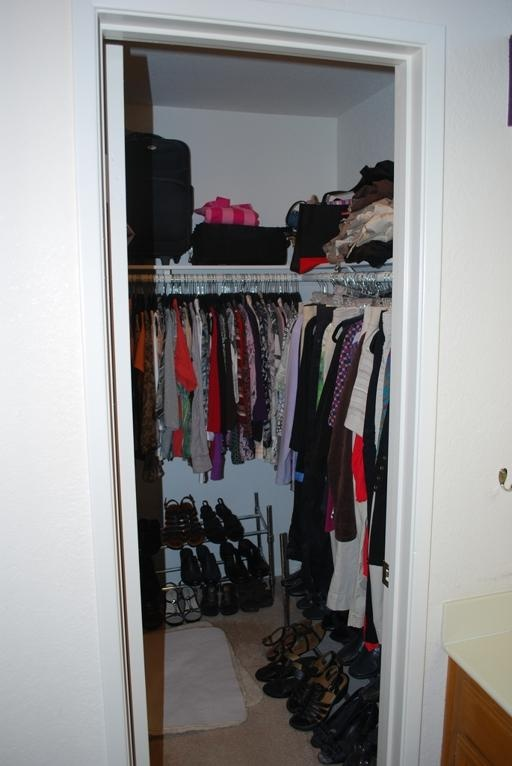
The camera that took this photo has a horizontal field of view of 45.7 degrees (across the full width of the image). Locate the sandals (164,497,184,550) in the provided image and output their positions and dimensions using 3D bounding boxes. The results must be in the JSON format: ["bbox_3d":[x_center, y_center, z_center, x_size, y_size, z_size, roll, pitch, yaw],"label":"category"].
[{"bbox_3d":[-0.397,0.672,2.925,0.072,0.076,0.247,-2,31,-4],"label":"sandals"}]

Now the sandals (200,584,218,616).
[{"bbox_3d":[-0.226,1.048,2.961,0.086,0.168,0.150,-2,8,-3],"label":"sandals"}]

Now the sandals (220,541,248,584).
[{"bbox_3d":[-0.110,0.861,3.019,0.082,0.080,0.253,-8,37,-18],"label":"sandals"}]

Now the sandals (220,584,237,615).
[{"bbox_3d":[-0.134,1.066,2.959,0.050,0.070,0.151,0,5,-2],"label":"sandals"}]

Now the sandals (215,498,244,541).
[{"bbox_3d":[-0.135,0.693,3.055,0.078,0.109,0.255,-5,18,-13],"label":"sandals"}]

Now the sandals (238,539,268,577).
[{"bbox_3d":[-0.009,0.878,3.030,0.073,0.098,0.222,-7,25,-15],"label":"sandals"}]

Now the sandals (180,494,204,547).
[{"bbox_3d":[-0.307,0.656,2.969,0.086,0.088,0.314,-3,32,-11],"label":"sandals"}]

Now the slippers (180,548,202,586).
[{"bbox_3d":[-0.324,0.898,2.968,0.061,0.073,0.189,-3,20,-9],"label":"slippers"}]

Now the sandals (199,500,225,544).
[{"bbox_3d":[-0.216,0.681,2.982,0.068,0.074,0.235,-1,23,-13],"label":"sandals"}]

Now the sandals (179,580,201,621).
[{"bbox_3d":[-0.325,1.085,2.985,0.071,0.059,0.224,-1,23,-10],"label":"sandals"}]

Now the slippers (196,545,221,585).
[{"bbox_3d":[-0.238,0.900,3.010,0.060,0.062,0.198,-3,20,-9],"label":"slippers"}]
